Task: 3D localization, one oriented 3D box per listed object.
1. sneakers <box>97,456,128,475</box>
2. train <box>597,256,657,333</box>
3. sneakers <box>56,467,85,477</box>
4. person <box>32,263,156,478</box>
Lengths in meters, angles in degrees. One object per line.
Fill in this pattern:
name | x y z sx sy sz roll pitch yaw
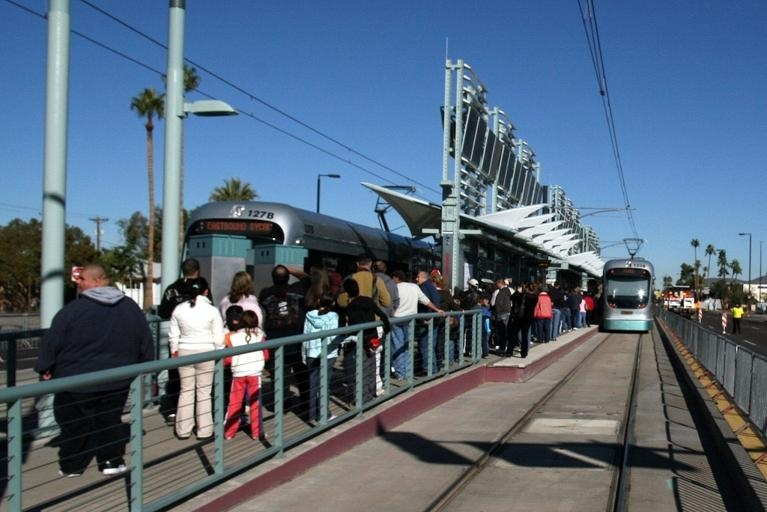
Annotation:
sneakers | -2.686 2.071 5.901 0.145 0.163 0.368 -9 -26 6
train | 11.895 1.912 29.203 2.254 3.470 0.906 0 -2 1
sneakers | -2.997 2.076 5.743 0.163 0.092 0.239 -2 -19 13
person | -2.880 1.151 6.001 1.067 2.155 1.410 0 -2 -21
